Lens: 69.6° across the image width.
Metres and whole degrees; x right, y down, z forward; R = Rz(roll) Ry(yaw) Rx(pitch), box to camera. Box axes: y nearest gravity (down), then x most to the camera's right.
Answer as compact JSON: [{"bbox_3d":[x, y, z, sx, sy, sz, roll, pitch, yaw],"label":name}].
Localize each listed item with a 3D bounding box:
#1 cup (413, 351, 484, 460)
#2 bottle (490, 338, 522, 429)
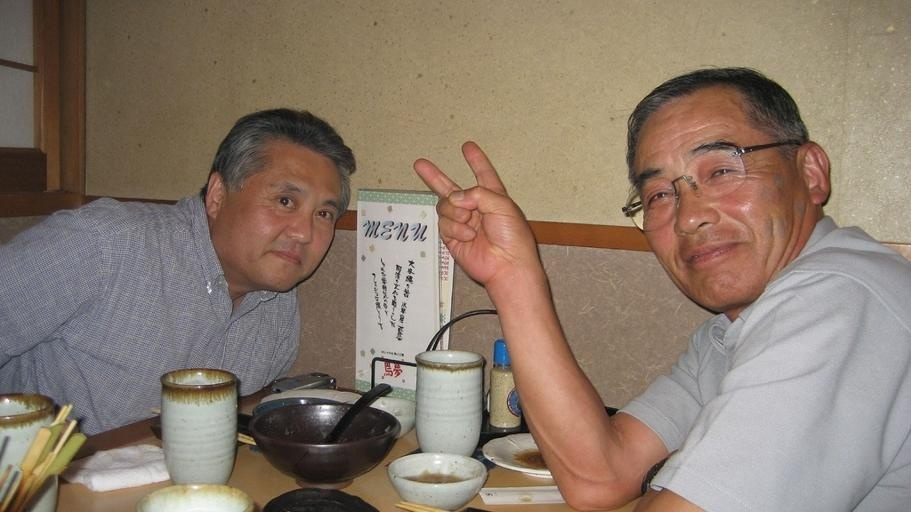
[{"bbox_3d":[-0.025,0.543,2.351,0.275,0.331,0.246,2,-3,-22],"label":"cup"},{"bbox_3d":[0.211,0.495,2.532,0.153,0.311,0.141,-1,2,0],"label":"bottle"}]
